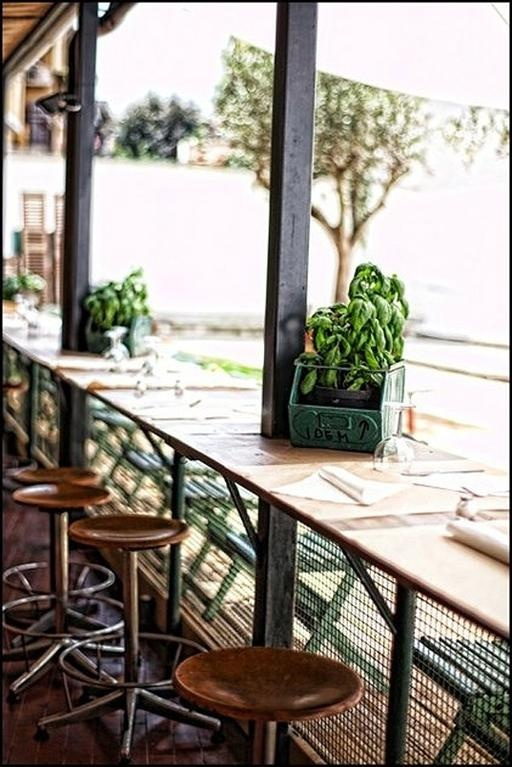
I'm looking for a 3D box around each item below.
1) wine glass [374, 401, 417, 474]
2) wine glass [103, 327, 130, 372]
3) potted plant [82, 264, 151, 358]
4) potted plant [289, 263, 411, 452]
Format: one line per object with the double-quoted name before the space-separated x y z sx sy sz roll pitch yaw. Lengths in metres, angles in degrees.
"wine glass" 0.296 0.116 1.357 0.085 0.161 0.101 -3 -15 28
"wine glass" -0.606 -0.157 2.736 0.109 0.190 0.242 2 3 -12
"potted plant" -0.642 -0.324 2.901 0.302 0.446 0.248 8 36 11
"potted plant" 0.232 -0.073 1.588 0.280 0.471 0.459 3 3 14
